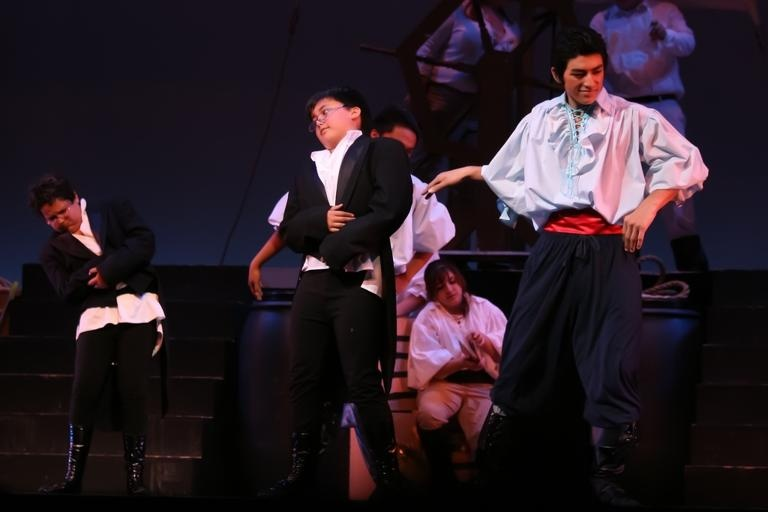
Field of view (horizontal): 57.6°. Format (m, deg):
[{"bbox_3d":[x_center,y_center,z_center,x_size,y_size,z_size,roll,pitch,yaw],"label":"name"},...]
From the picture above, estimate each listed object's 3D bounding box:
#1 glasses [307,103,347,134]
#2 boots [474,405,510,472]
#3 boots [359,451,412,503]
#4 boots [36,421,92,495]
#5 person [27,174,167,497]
[{"bbox_3d":[-0.277,-0.663,3.348,0.137,0.038,0.131,-9,-11,-42],"label":"glasses"},{"bbox_3d":[0.474,0.859,3.177,0.110,0.387,0.133,-2,-42,24],"label":"boots"},{"bbox_3d":[0.025,0.965,3.101,0.158,0.238,0.232,1,1,1],"label":"boots"},{"bbox_3d":[-1.482,0.961,3.253,0.216,0.319,0.306,1,1,-19],"label":"boots"},{"bbox_3d":[-1.418,0.364,3.426,0.636,1.523,0.385,1,1,-8],"label":"person"}]
